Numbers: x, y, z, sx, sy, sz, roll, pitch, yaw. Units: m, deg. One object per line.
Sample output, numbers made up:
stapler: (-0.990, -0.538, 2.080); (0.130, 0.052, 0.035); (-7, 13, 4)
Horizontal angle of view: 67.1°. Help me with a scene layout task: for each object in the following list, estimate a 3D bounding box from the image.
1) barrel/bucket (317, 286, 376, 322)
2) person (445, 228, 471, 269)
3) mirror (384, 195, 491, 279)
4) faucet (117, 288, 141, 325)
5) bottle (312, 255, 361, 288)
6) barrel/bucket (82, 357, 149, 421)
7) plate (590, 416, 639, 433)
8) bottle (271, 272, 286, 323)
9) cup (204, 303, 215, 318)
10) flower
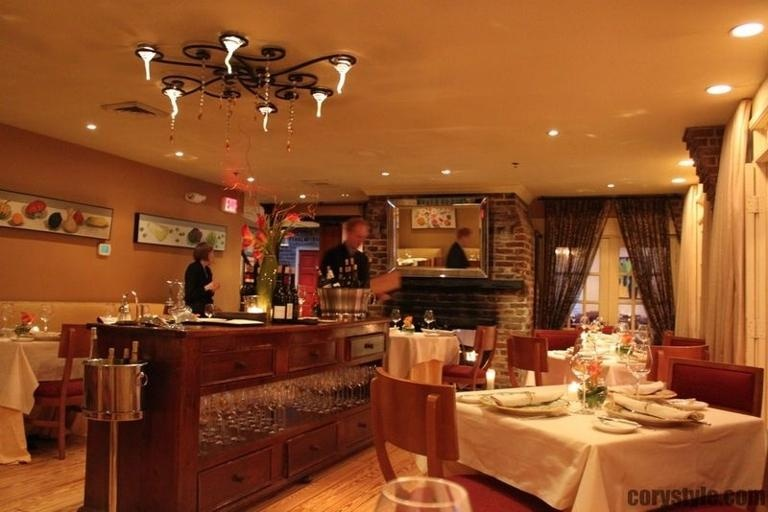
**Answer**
barrel/bucket: (-0.384, 0.471, 5.641); (0.565, 0.299, 0.551); (2, -7, 0)
person: (1.394, -0.054, 10.062); (0.639, 0.842, 0.563); (-1, 5, 8)
mirror: (0.990, -0.345, 9.901); (1.647, 1.090, 0.124); (0, 3, 15)
faucet: (-2.279, 0.479, 5.244); (0.233, 0.314, 0.106); (-15, -13, 6)
bottle: (-0.439, 0.165, 5.634); (0.364, 0.304, 0.344); (0, -13, 0)
barrel/bucket: (-1.729, 0.898, 3.857); (0.396, 0.329, 0.398); (1, -10, 0)
plate: (1.252, 0.913, 3.137); (0.235, 0.059, 0.205); (-1, -4, 21)
bottle: (-0.867, 0.330, 4.787); (0.117, 0.399, 0.231); (1, -4, -12)
cup: (-1.411, 0.441, 4.708); (0.071, 0.101, 0.284); (1, -4, -15)
flower: (-0.982, -0.169, 4.885); (0.672, 0.326, 0.538); (-22, -20, 28)
